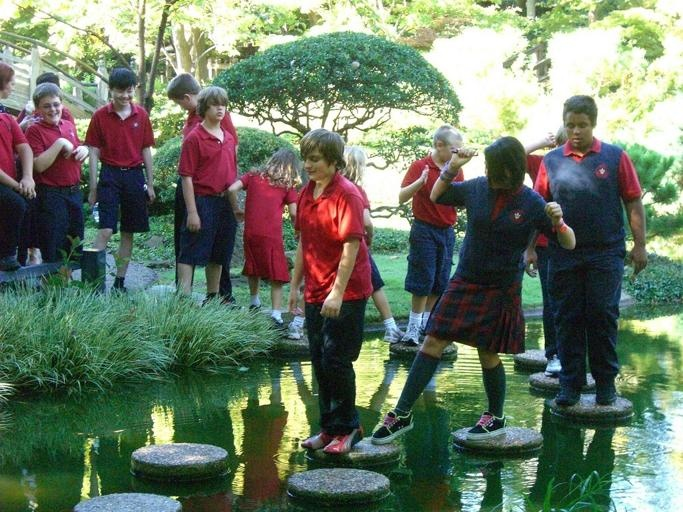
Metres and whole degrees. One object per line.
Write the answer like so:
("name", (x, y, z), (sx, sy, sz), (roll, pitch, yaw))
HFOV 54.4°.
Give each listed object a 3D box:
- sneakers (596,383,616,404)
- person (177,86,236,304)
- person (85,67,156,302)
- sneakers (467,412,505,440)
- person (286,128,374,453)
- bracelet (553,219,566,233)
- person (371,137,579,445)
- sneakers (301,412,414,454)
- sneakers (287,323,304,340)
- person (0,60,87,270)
("sneakers", (1.730, 0.909, 4.348), (0.076, 0.075, 0.191), (0, 7, 21))
("person", (-1.181, -0.519, 5.816), (0.594, 1.857, 0.443), (-3, 9, -22))
("person", (-2.074, -0.686, 6.159), (0.561, 2.086, 0.695), (2, 9, 8))
("sneakers", (0.840, 0.994, 3.878), (0.280, 0.114, 0.099), (-1, 1, -31))
("person", (-0.080, 0.209, 3.693), (0.366, 1.791, 0.488), (-7, 11, -39))
("bracelet", (1.210, -0.172, 3.658), (0.074, 0.061, 0.067), (-10, -40, 34))
("person", (0.787, 0.223, 3.805), (1.027, 1.777, 0.366), (0, 9, 1))
("sneakers", (0.137, 0.986, 3.773), (0.692, 0.224, 0.224), (0, -3, -36))
("sneakers", (-0.409, 0.676, 5.881), (0.168, 0.122, 0.305), (1, 0, -5))
("person", (-2.514, -0.711, 5.816), (0.614, 1.559, 0.603), (8, 12, 42))
